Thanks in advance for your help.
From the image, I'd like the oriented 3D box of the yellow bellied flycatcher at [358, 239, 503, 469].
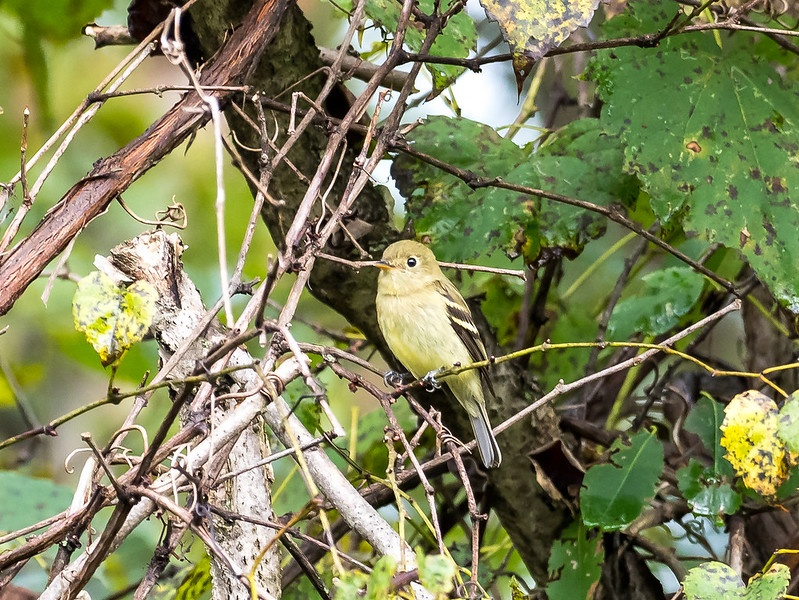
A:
[{"bbox_3d":[0.205,0.292,4.390,0.586,1.113,1.020,-1,-19,6],"label":"yellow bellied flycatcher"}]
